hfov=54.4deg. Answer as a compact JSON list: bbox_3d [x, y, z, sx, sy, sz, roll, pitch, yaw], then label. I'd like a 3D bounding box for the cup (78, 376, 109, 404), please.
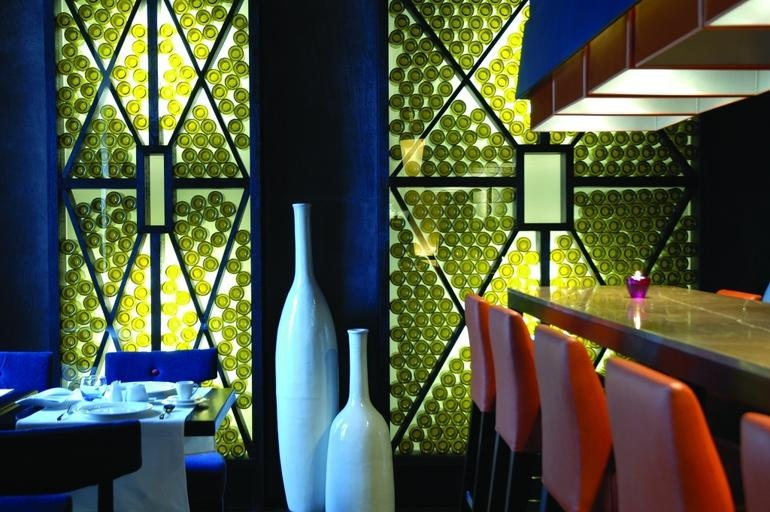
[{"bbox_3d":[-1.558,0.712,4.032,0.125,0.150,0.131,0,1,0],"label":"cup"}]

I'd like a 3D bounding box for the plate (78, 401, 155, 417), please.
[{"bbox_3d":[-1.362,0.780,3.830,0.357,0.066,0.204,1,-7,-17],"label":"plate"}]

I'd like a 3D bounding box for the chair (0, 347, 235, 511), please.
[{"bbox_3d":[-1.255,0.904,3.930,0.957,1.175,1.125,0,0,3],"label":"chair"}]

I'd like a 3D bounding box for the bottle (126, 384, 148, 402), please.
[{"bbox_3d":[-1.298,0.724,3.952,0.083,0.085,0.089,0,3,-2],"label":"bottle"}]

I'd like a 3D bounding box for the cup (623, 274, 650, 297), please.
[{"bbox_3d":[1.396,0.157,4.169,0.113,0.108,0.120,1,2,0],"label":"cup"}]

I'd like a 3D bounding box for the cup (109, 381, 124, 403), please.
[{"bbox_3d":[-1.421,0.718,4.007,0.058,0.104,0.137,1,-7,-20],"label":"cup"}]

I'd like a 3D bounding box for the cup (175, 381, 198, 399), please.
[{"bbox_3d":[-1.046,0.716,4.008,0.089,0.081,0.077,2,-8,-7],"label":"cup"}]
